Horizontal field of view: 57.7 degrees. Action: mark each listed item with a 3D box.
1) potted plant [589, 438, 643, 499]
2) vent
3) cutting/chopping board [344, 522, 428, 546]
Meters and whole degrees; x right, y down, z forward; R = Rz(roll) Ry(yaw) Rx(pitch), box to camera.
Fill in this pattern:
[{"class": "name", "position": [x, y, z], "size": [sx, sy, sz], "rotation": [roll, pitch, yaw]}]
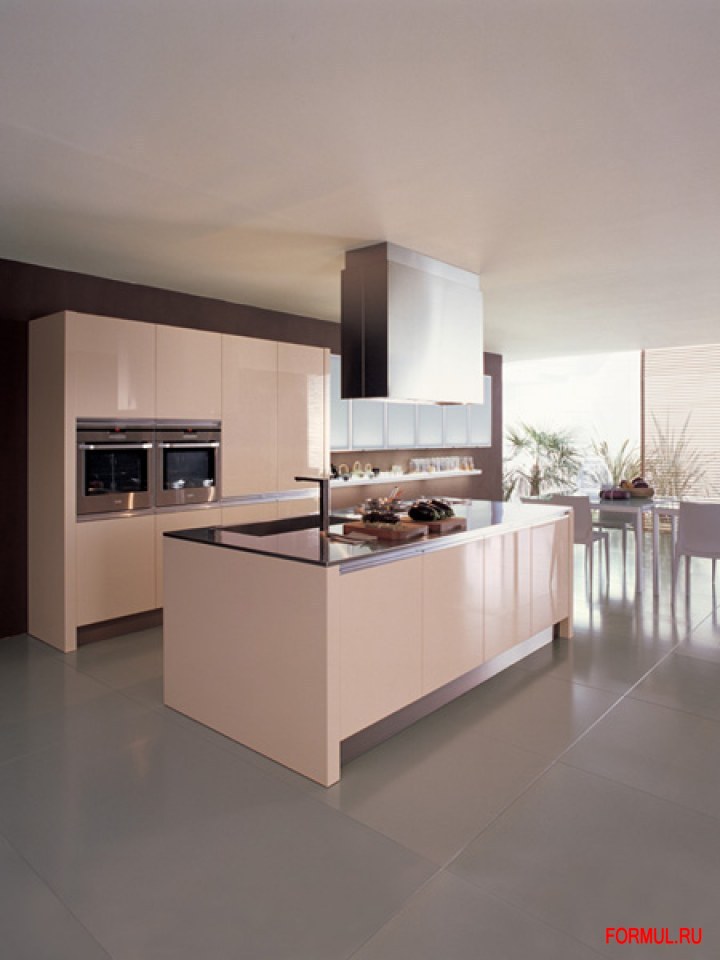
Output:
[{"class": "potted plant", "position": [3.681, -0.226, 9.482], "size": [0.581, 0.686, 1.053], "rotation": [-1, 2, 2]}, {"class": "vent", "position": [0.327, -0.947, 4.051], "size": [1.003, 0.914, 0.386], "rotation": [-2, 3, -39]}, {"class": "cutting/chopping board", "position": [0.101, 0.231, 2.916], "size": [0.390, 0.077, 0.365], "rotation": [0, 2, 7]}]
